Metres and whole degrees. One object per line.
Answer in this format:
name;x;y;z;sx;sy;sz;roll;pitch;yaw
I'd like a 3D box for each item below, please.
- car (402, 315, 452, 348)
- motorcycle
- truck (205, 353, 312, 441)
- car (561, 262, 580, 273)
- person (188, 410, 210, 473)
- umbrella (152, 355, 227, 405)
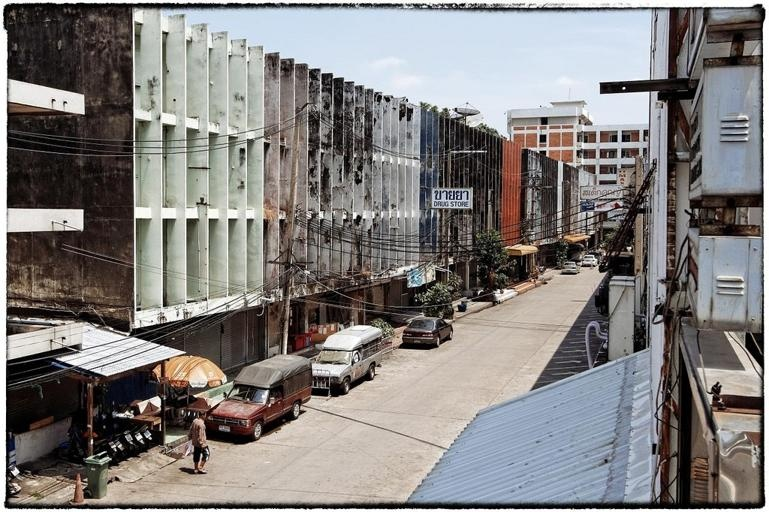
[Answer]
car;1.962;3.775;43.977;1.838;1.483;2.359;-10;9;16
motorcycle;-8.287;5.448;27.641;1.420;1.077;2.024;0;-3;15
truck;-4.262;4.652;30.838;1.607;1.630;3.538;2;1;21
car;16.607;1.052;82.047;0.810;0.715;2.129;-1;-7;13
person;-5.570;5.595;27.209;0.592;1.086;1.089;-14;9;-14
umbrella;-6.372;4.392;30.071;2.000;0.896;2.072;13;8;8
